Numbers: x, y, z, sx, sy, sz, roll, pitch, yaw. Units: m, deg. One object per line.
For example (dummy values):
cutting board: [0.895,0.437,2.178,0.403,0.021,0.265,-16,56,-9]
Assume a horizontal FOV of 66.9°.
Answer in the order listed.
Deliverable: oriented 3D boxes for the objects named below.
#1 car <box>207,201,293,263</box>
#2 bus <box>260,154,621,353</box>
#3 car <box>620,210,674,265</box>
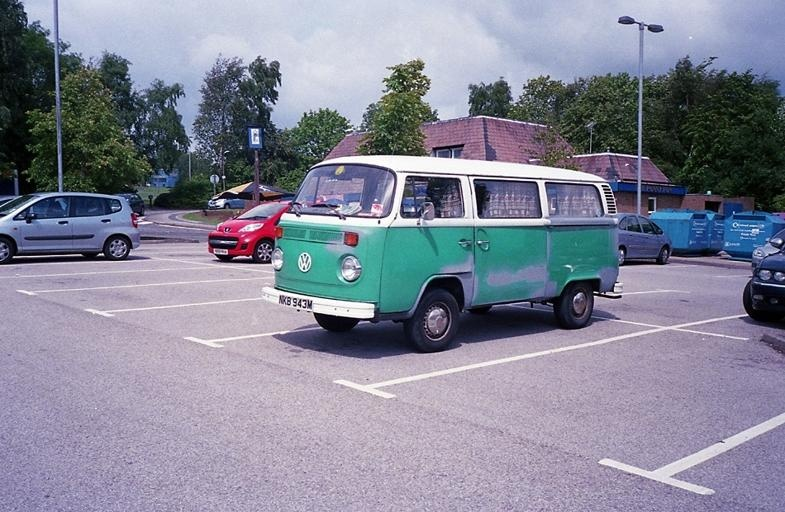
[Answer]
car: [-4.559,-0.784,19.509,2.141,1.857,3.755,0,-1,42]
bus: [0.962,-0.189,10.204,5.135,2.389,2.911,0,0,-33]
car: [9.368,-0.634,22.994,2.650,1.330,1.539,-4,6,-25]
